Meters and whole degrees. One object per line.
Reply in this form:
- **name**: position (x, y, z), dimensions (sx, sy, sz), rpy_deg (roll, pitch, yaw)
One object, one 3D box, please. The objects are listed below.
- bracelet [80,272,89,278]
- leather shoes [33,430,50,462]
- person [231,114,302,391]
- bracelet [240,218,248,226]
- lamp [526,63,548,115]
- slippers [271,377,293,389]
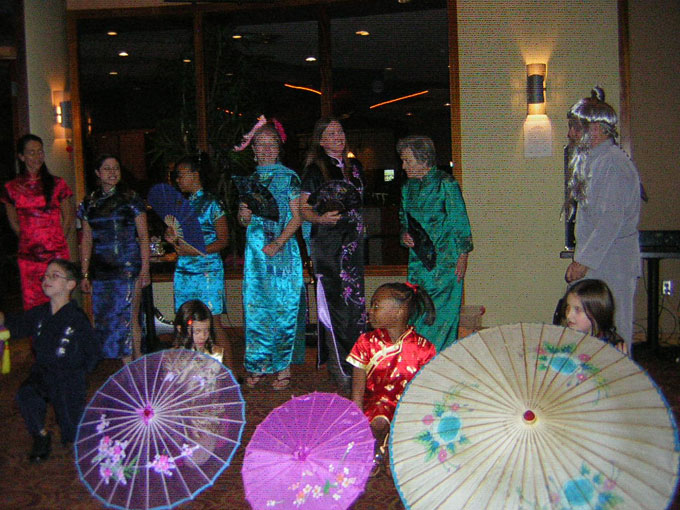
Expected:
- **bracelet**: position (-1.412, 0.112, 3.702), dimensions (0.030, 0.027, 0.007), rpy_deg (4, 4, -18)
- **leather shoes**: position (-1.337, 0.843, 2.997), dimensions (0.083, 0.122, 0.093), rpy_deg (-2, 7, -25)
- **person**: position (-0.352, 0.003, 3.589), dimensions (0.353, 1.445, 0.260), rpy_deg (2, 7, 11)
- **bracelet**: position (-0.508, -0.169, 3.546), dimensions (0.037, 0.035, 0.009), rpy_deg (3, 17, 15)
- **lamp**: position (1.017, -0.856, 3.494), dimensions (0.103, 0.269, 0.074), rpy_deg (2, 7, 11)
- **slippers**: position (-0.319, 0.699, 3.658), dimensions (0.116, 0.080, 0.026), rpy_deg (-1, -29, -4)
